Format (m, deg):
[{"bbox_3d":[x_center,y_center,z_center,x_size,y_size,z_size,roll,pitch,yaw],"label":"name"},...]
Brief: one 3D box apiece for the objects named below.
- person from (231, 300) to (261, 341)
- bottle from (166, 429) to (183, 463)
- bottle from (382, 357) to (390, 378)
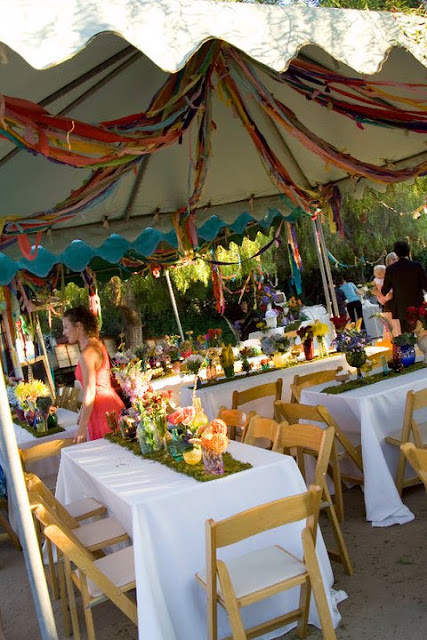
[{"bbox_3d":[0.758,0.007,9.966,0.542,0.430,1.416,-9,18,4],"label":"person"},{"bbox_3d":[-0.211,0.676,2.397,0.079,0.149,0.404,-11,-4,-9],"label":"bottle"},{"bbox_3d":[1.451,0.411,3.779,0.066,0.223,0.070,-10,24,4],"label":"bottle"}]
